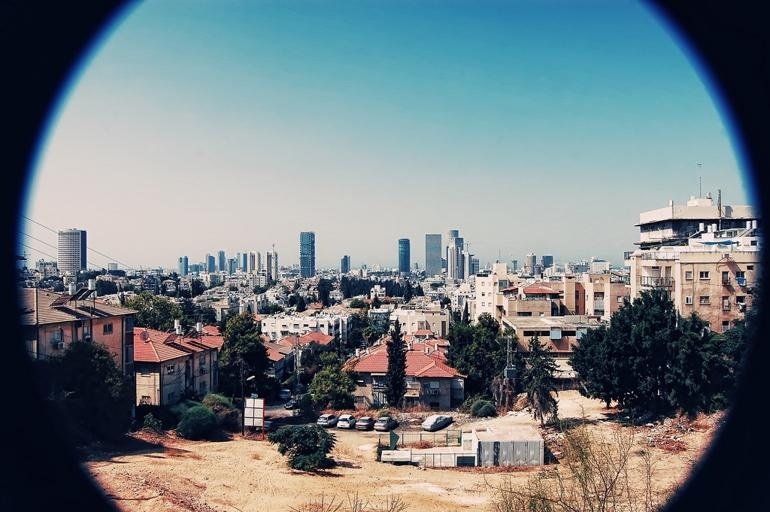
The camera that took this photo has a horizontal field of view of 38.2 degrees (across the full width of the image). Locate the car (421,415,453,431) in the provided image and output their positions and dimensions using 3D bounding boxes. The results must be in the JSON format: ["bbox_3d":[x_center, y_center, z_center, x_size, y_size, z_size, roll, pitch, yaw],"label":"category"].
[{"bbox_3d":[2.398,7.821,51.942,0.897,0.643,1.727,-4,-5,40],"label":"car"}]

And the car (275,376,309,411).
[{"bbox_3d":[-4.941,7.083,57.487,1.144,0.762,1.612,1,4,9],"label":"car"}]
